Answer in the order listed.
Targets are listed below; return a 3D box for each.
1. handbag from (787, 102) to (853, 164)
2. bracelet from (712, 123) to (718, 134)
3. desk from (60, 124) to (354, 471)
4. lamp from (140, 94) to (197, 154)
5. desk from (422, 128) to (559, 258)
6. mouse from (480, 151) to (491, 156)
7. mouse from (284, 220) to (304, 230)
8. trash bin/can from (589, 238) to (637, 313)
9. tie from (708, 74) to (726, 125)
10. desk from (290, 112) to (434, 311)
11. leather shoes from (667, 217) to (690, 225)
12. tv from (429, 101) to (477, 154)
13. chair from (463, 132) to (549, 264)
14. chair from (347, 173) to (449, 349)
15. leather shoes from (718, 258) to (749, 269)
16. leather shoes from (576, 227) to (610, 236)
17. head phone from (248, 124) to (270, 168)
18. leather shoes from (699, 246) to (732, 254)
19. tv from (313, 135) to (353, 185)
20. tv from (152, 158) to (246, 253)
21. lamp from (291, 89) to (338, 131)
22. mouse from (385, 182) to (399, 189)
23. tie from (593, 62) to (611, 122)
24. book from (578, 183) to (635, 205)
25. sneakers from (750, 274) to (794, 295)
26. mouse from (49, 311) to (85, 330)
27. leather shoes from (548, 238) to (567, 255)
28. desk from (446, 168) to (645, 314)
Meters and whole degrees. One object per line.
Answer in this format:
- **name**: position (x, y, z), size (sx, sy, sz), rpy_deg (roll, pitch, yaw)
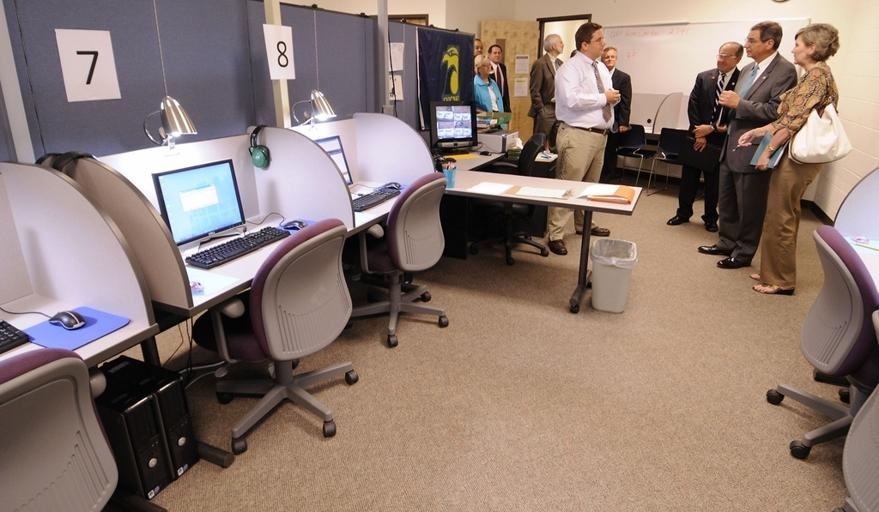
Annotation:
- **handbag**: position (2.946, -0.907, 4.610), size (0.369, 0.441, 0.253), rpy_deg (-8, 26, -13)
- **bracelet**: position (2.819, -1.283, 6.067), size (0.058, 0.078, 0.029), rpy_deg (-2, -2, 41)
- **desk**: position (-1.341, 0.198, 4.013), size (1.260, 1.871, 1.513), rpy_deg (6, 21, 29)
- **lamp**: position (-1.718, -0.815, 3.722), size (0.392, 0.329, 0.185), rpy_deg (-7, 6, 26)
- **desk**: position (0.523, -0.853, 5.787), size (1.013, 1.157, 1.726), rpy_deg (5, 27, 15)
- **mouse**: position (0.460, -1.028, 6.083), size (0.081, 0.021, 0.059), rpy_deg (7, 24, 20)
- **mouse**: position (-1.043, -0.210, 4.234), size (0.106, 0.031, 0.085), rpy_deg (10, 27, 19)
- **trash bin/can**: position (1.424, 0.162, 4.951), size (0.357, 0.469, 0.472), rpy_deg (6, 27, 15)
- **tie**: position (2.813, -1.583, 6.035), size (0.054, 0.525, 0.290), rpy_deg (9, 45, 29)
- **desk**: position (-0.589, -0.335, 4.427), size (0.860, 1.576, 1.179), rpy_deg (7, 20, 25)
- **leather shoes**: position (2.609, -0.365, 6.550), size (0.252, 0.101, 0.092), rpy_deg (-1, 14, -6)
- **tv**: position (0.110, -1.304, 6.040), size (0.480, 0.460, 0.250), rpy_deg (-6, 8, -17)
- **chair**: position (0.634, -0.669, 6.151), size (1.073, 1.457, 1.094), rpy_deg (2, 16, 1)
- **chair**: position (-0.339, -0.037, 4.748), size (0.908, 1.188, 0.890), rpy_deg (8, 19, 27)
- **leather shoes**: position (2.712, 0.084, 5.558), size (0.284, 0.103, 0.108), rpy_deg (4, 16, 14)
- **leather shoes**: position (1.503, -0.226, 5.892), size (0.241, 0.094, 0.088), rpy_deg (3, 24, 11)
- **head phone**: position (-1.301, -0.774, 4.266), size (0.118, 0.301, 0.262), rpy_deg (0, 10, 16)
- **leather shoes**: position (2.679, -0.048, 5.776), size (0.270, 0.093, 0.096), rpy_deg (8, 20, 24)
- **tv**: position (-0.825, -0.712, 4.495), size (0.314, 0.366, 0.393), rpy_deg (6, 21, 14)
- **tv**: position (-1.616, -0.317, 3.919), size (0.136, 0.478, 0.539), rpy_deg (2, 20, 39)
- **lamp**: position (-0.962, -1.079, 4.508), size (0.370, 0.299, 0.203), rpy_deg (-19, 2, -10)
- **mouse**: position (-0.397, -0.573, 4.979), size (0.065, 0.034, 0.111), rpy_deg (-18, 24, -36)
- **tie**: position (1.504, -1.499, 5.553), size (0.160, 0.581, 0.028), rpy_deg (-2, -5, -39)
- **book**: position (1.373, -0.508, 4.838), size (0.417, 0.044, 0.439), rpy_deg (10, 28, 23)
- **sneakers**: position (2.843, 0.272, 5.108), size (0.253, 0.081, 0.172), rpy_deg (14, 39, 30)
- **mouse**: position (-2.091, 0.360, 3.322), size (0.165, 0.058, 0.097), rpy_deg (11, 22, 14)
- **leather shoes**: position (1.153, -0.080, 5.823), size (0.095, 0.094, 0.210), rpy_deg (-8, 18, -10)
- **desk**: position (0.730, -0.236, 4.982), size (1.843, 0.976, 0.792), rpy_deg (2, 42, -6)
